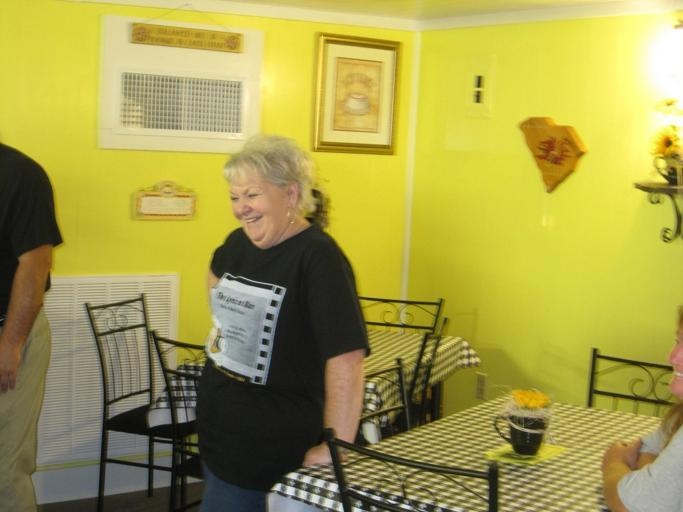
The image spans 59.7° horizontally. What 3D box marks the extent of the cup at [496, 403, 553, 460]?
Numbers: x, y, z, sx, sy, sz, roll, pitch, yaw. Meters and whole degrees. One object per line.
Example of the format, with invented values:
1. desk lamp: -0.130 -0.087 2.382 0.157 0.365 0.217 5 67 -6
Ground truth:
1. cup: 0.548 0.558 1.879 0.124 0.131 0.179 2 -7 -20
